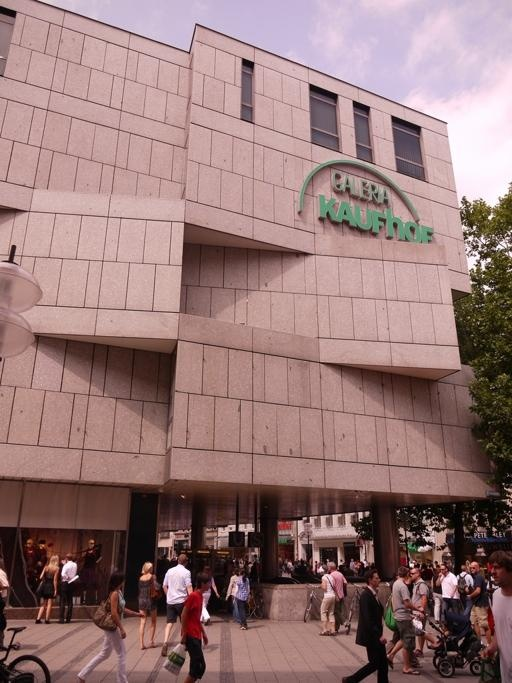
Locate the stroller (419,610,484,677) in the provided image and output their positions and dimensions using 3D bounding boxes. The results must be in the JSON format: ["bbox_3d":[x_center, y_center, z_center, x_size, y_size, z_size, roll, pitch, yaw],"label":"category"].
[{"bbox_3d":[3.251,4.933,7.505,0.823,0.925,0.720,-4,-18,8],"label":"stroller"}]

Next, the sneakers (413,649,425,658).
[{"bbox_3d":[3.084,5.960,8.813,0.189,0.239,0.590,-2,-33,15],"label":"sneakers"}]

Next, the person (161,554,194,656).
[{"bbox_3d":[-1.434,4.802,8.490,0.488,1.599,0.672,-13,-23,39],"label":"person"}]

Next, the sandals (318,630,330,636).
[{"bbox_3d":[1.726,7.444,11.732,0.292,0.125,0.103,-7,-25,25],"label":"sandals"}]

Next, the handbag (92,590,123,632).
[{"bbox_3d":[-1.764,3.243,5.457,0.257,0.385,0.228,0,-18,-3],"label":"handbag"}]

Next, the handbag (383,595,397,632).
[{"bbox_3d":[2.336,4.814,8.056,0.188,0.603,1.017,-6,-19,13],"label":"handbag"}]
